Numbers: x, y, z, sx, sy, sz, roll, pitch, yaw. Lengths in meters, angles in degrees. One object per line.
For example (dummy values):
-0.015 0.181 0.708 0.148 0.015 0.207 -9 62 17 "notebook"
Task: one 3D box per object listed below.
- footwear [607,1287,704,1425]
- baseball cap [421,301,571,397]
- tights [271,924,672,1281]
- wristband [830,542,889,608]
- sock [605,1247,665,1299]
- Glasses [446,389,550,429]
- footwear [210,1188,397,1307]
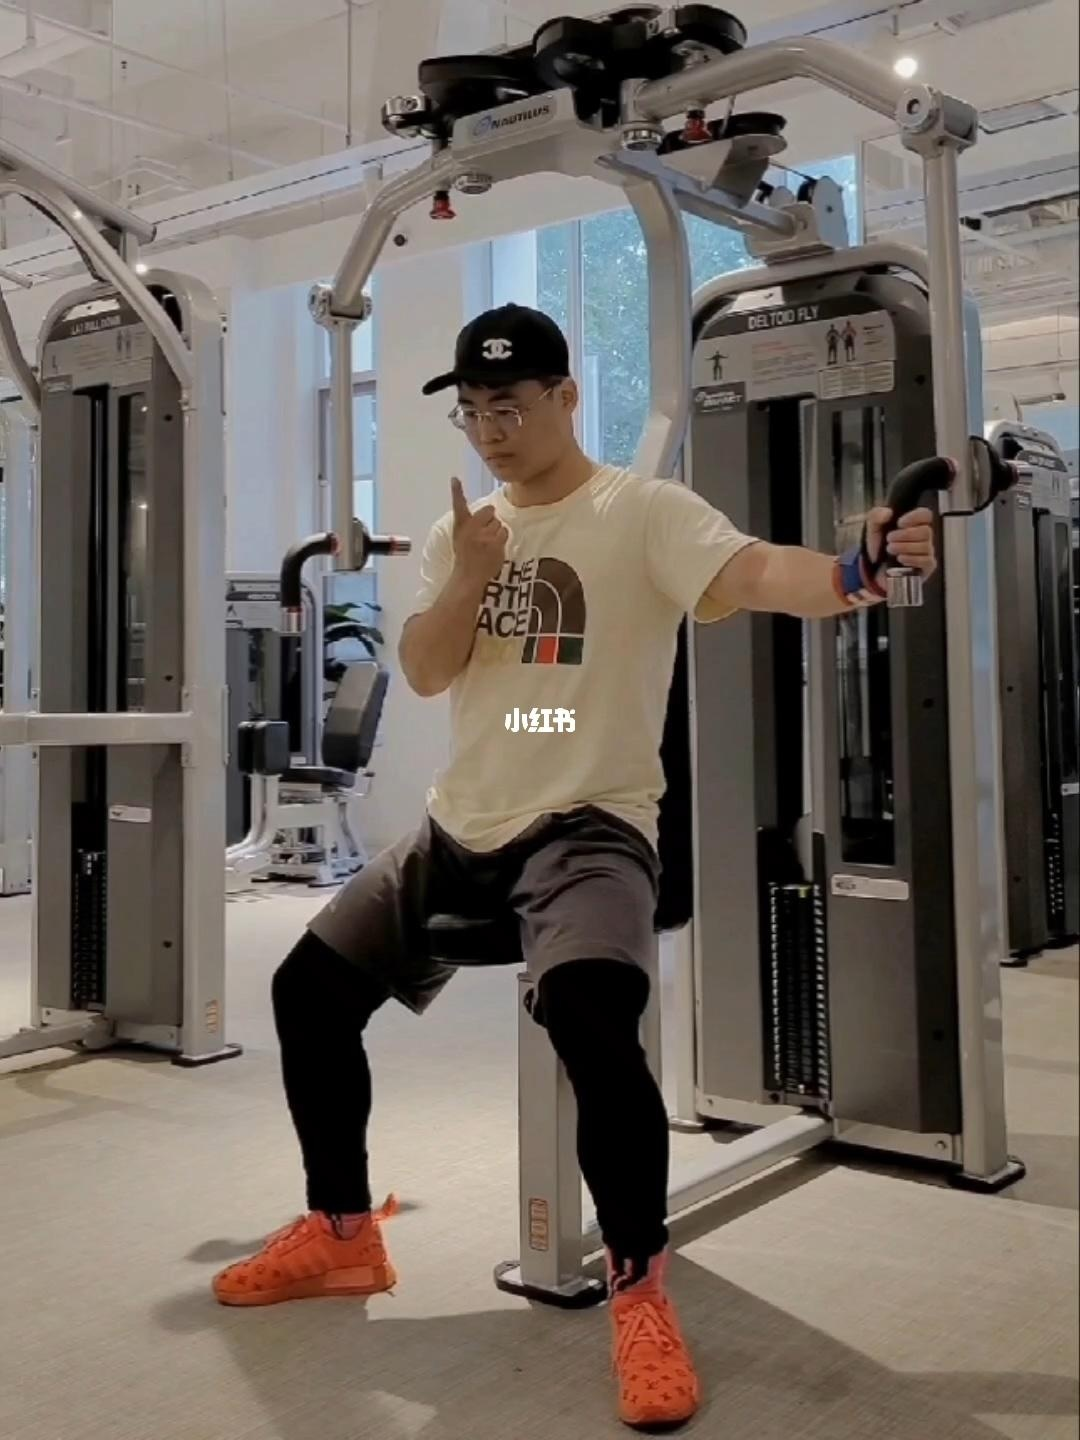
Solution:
0.129 0.721 1.633 0.102 0.142 0.106 0 -1 8 "footwear"
-0.045 -0.464 1.841 0.188 0.101 0.125 -5 10 -24 "baseball cap"
-0.108 0.572 2.067 0.584 0.494 0.263 -10 -31 28 "tights"
0.331 -0.149 1.484 0.052 0.031 0.069 -27 10 14 "wristband"
0.118 0.644 1.691 0.068 0.066 0.065 -1 0 9 "sock"
-0.040 -0.399 1.821 0.074 0.022 0.075 -3 29 44 "Glasses"
-0.320 0.760 2.071 0.310 0.173 0.107 3 -7 -14 "footwear"
